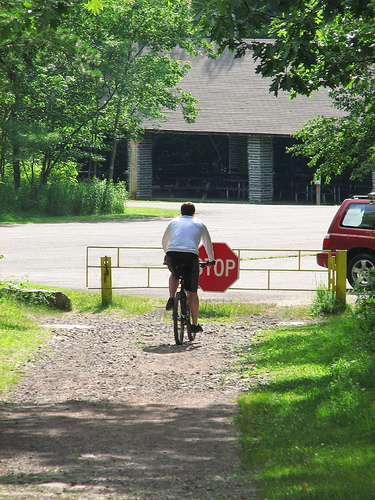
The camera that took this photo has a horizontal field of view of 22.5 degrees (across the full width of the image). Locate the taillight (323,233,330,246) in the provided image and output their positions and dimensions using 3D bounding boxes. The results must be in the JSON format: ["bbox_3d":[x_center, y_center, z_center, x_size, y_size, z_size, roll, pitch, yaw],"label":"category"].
[{"bbox_3d":[2.361,-0.175,15.854,0.146,0.291,0.167,2,-1,6],"label":"taillight"}]

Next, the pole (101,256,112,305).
[{"bbox_3d":[-1.196,0.463,14.019,0.171,0.843,0.031,-7,-33,6],"label":"pole"}]

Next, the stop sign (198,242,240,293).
[{"bbox_3d":[0.451,0.261,13.434,0.767,0.790,0.054,6,12,22],"label":"stop sign"}]

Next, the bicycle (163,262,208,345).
[{"bbox_3d":[-0.038,0.742,10.982,0.456,0.599,0.968,-1,-7,0],"label":"bicycle"}]

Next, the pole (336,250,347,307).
[{"bbox_3d":[2.194,0.410,13.293,0.130,0.782,0.151,0,0,9],"label":"pole"}]
